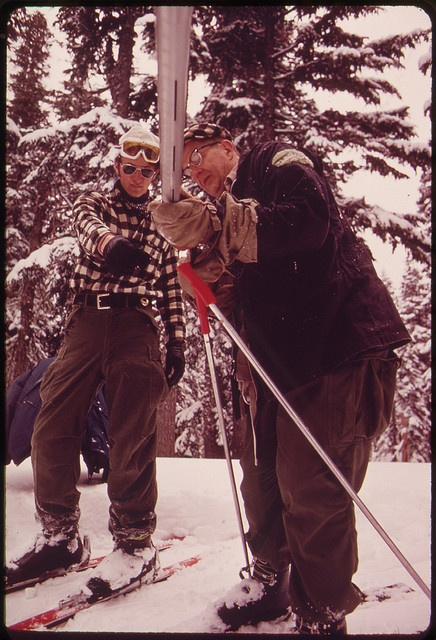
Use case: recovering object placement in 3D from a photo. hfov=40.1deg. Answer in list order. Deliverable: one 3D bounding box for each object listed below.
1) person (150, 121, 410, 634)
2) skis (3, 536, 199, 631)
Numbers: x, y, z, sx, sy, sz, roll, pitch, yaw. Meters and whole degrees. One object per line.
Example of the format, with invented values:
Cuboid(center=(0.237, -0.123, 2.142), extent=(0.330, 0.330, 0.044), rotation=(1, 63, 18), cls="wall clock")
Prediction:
Cuboid(center=(0.301, 0.247, 2.529), extent=(0.953, 2.272, 0.899), rotation=(2, 5, 20), cls="person")
Cuboid(center=(-0.587, 1.295, 3.030), extent=(0.951, 0.102, 0.281), rotation=(5, -31, -42), cls="skis")
